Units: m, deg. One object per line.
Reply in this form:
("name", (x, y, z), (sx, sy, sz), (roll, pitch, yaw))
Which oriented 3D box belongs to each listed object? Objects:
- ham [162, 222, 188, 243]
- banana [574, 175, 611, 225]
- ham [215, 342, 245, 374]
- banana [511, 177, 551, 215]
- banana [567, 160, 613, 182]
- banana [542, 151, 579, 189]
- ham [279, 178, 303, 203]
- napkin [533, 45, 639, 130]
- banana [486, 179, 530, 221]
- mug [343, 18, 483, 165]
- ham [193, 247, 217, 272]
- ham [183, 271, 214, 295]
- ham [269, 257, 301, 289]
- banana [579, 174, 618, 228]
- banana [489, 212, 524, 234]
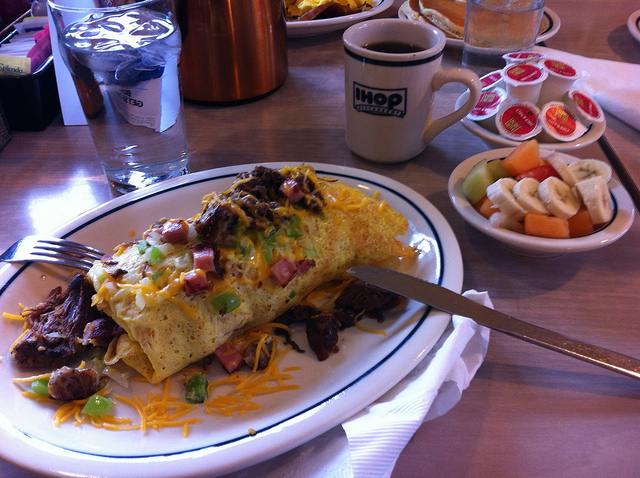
("ham", (-0.366, -0.021, 1.328), (0.053, 0.034, 0.052), (11, 18, 42))
("banana", (0.792, -0.109, 1.494), (0.089, 0.070, 0.128), (-8, 53, -8))
("ham", (-0.234, 0.301, 1.342), (0.053, 0.034, 0.073), (-30, 60, -26))
("banana", (0.626, -0.144, 1.526), (0.023, 0.096, 0.101), (37, 60, 5))
("banana", (0.820, -0.205, 1.590), (0.087, 0.021, 0.089), (-7, 30, 6))
("banana", (0.730, -0.199, 1.600), (0.034, 0.127, 0.133), (6, -1, -24))
("ham", (-0.078, -0.131, 1.430), (0.067, 0.047, 0.052), (48, 33, 5))
("napkin", (1.115, -0.629, 2.135), (0.401, 0.067, 0.385), (24, 55, 15))
("banana", (0.541, -0.134, 1.492), (0.111, 0.115, 0.027), (-6, 31, 31))
("mug", (0.298, -0.469, 1.808), (0.476, 0.423, 0.307), (29, 48, 30))
("ham", (-0.288, 0.050, 1.303), (0.049, 0.040, 0.067), (-9, 53, -9))
("ham", (-0.288, 0.101, 1.280), (0.054, 0.055, 0.038), (-1, 16, -25))
("ham", (-0.099, 0.093, 1.399), (0.042, 0.072, 0.067), (37, 59, 24))
("banana", (0.771, -0.105, 1.507), (0.135, 0.032, 0.127), (42, 47, -27))
("banana", (0.536, -0.041, 1.515), (0.070, 0.025, 0.069), (25, 10, -30))
